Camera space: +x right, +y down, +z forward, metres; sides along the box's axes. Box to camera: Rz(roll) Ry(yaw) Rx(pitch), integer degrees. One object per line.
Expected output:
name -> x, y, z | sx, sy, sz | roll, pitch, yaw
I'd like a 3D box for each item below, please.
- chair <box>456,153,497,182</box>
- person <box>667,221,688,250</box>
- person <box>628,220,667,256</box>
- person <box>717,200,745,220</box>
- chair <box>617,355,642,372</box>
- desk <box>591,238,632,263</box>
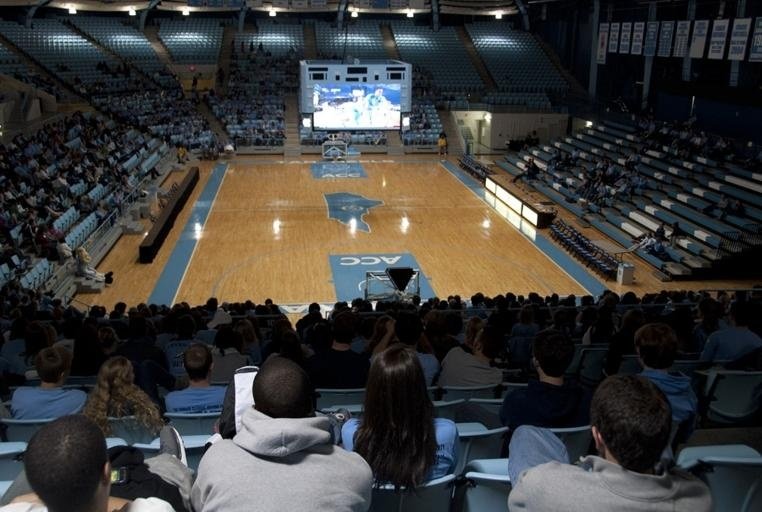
chair -> 5.581, -5.265, 27.990 | 1.095, 0.805, 3.341 | -3, 33, -28
person -> 10.898, -0.797, 17.198 | 0.564, 0.883, 1.122 | 6, 11, 37
person -> 9.639, -0.594, 16.884 | 1.016, 0.945, 0.880 | 4, 10, 29
person -> 13.035, -1.743, 17.441 | 0.858, 0.737, 0.383 | 6, 11, 36
chair -> 3.089, 1.317, 5.805 | 0.229, 0.278, 0.316 | 5, 11, 32
desk -> 8.173, -0.173, 16.667 | 1.231, 0.730, 1.901 | 4, 10, 27
